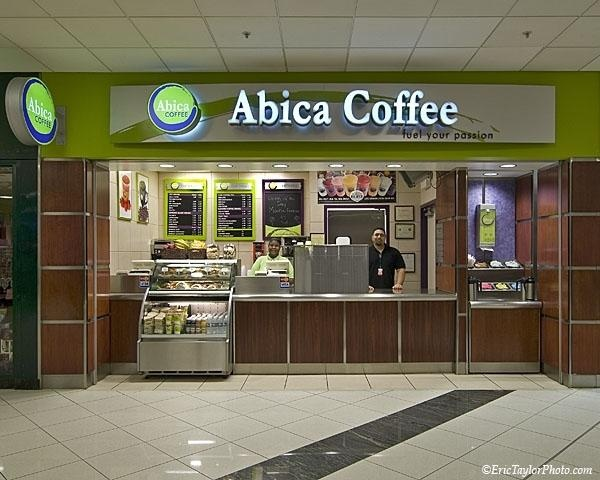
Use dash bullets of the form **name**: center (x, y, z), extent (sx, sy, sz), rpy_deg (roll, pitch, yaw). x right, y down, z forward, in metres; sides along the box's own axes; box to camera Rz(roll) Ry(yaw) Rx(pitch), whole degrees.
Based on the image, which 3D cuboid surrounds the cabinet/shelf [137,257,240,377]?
- **cabinet/shelf**: center (-1.491, 1.007, 6.743), extent (1.109, 1.387, 1.504), rpy_deg (2, -1, -5)

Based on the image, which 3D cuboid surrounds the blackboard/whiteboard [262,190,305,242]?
- **blackboard/whiteboard**: center (-0.318, -0.398, 8.616), extent (0.856, 1.012, 0.065), rpy_deg (0, -3, -4)

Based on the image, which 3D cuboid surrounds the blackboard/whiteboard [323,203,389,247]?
- **blackboard/whiteboard**: center (0.984, -0.259, 8.640), extent (1.135, 0.664, 0.073), rpy_deg (0, -2, -1)

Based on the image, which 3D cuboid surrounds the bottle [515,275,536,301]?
- **bottle**: center (2.916, 0.644, 6.333), extent (0.288, 0.325, 0.179), rpy_deg (-1, -2, 12)

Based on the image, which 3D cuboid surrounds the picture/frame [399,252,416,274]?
- **picture/frame**: center (1.774, 0.368, 8.161), extent (0.388, 0.457, 0.058), rpy_deg (1, -6, -9)

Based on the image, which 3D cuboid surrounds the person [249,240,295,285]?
- **person**: center (-0.444, 0.284, 7.323), extent (0.869, 0.815, 0.483), rpy_deg (1, -10, -1)

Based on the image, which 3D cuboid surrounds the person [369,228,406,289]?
- **person**: center (1.207, 0.276, 6.878), extent (0.489, 0.826, 0.713), rpy_deg (-1, -2, 5)

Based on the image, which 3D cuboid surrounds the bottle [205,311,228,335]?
- **bottle**: center (-1.028, 1.043, 6.158), extent (0.277, 0.251, 0.224), rpy_deg (0, -2, -3)
